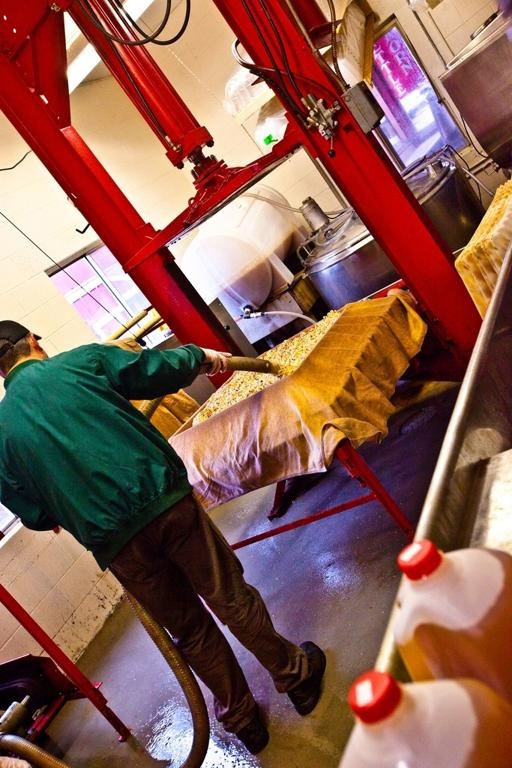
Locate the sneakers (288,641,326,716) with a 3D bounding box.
[{"bbox_3d":[0.207,0.983,1.848,0.105,0.161,0.261,-3,49,22],"label":"sneakers"}]
